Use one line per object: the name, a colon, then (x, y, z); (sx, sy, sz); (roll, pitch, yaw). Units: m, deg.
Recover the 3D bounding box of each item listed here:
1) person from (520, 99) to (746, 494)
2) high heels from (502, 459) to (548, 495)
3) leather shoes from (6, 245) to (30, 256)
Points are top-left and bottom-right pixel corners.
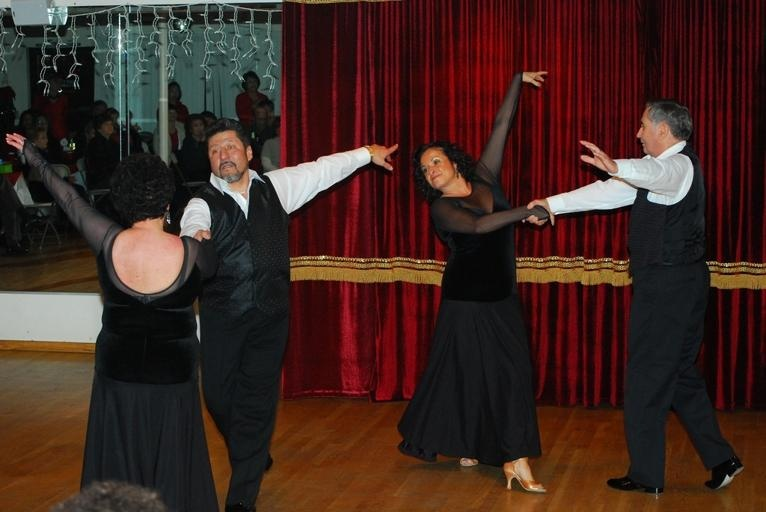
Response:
person: (1.629, 0.234, 3.866); (0.858, 2.261, 0.396); (-1, 8, -7)
high heels: (0.826, 1.290, 3.927); (0.284, 0.237, 0.133); (0, -1, 12)
leather shoes: (-3.296, -0.049, 5.957); (0.246, 0.113, 0.091); (-1, 10, -5)
